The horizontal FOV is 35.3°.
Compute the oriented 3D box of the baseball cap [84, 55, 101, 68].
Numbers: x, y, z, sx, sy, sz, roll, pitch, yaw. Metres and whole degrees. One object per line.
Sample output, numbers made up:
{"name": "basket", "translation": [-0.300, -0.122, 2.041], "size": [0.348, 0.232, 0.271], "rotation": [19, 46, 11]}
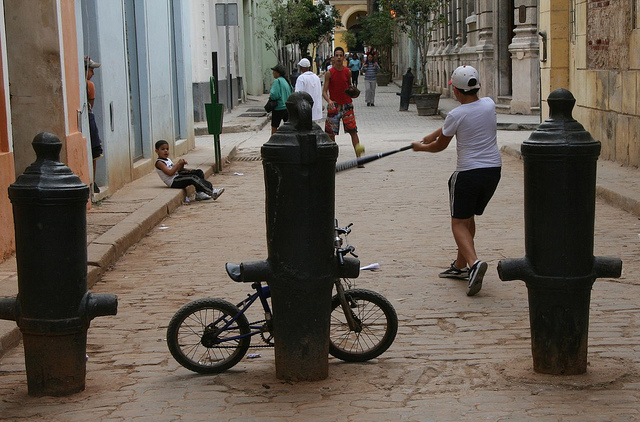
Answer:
{"name": "baseball cap", "translation": [-3.224, -2.106, 14.193], "size": [0.197, 0.177, 0.342], "rotation": [-6, 13, -11]}

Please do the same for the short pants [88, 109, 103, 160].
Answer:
{"name": "short pants", "translation": [-3.168, -1.094, 14.108], "size": [0.111, 0.702, 0.323], "rotation": [-4, 13, -3]}

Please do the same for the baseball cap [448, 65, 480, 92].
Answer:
{"name": "baseball cap", "translation": [1.502, -1.426, 10.461], "size": [0.315, 0.216, 0.389], "rotation": [-15, 26, -5]}

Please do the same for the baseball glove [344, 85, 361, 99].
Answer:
{"name": "baseball glove", "translation": [0.565, -2.155, 18.083], "size": [0.242, 0.097, 0.235], "rotation": [12, -3, -31]}

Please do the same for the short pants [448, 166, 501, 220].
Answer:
{"name": "short pants", "translation": [1.674, -0.192, 10.884], "size": [0.634, 0.568, 0.404], "rotation": [-8, 16, -36]}

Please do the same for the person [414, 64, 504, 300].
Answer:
{"name": "person", "translation": [1.472, -0.367, 10.686], "size": [1.050, 2.351, 1.423], "rotation": [0, 4, 2]}

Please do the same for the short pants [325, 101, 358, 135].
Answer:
{"name": "short pants", "translation": [0.376, -1.689, 18.225], "size": [0.524, 0.645, 0.617], "rotation": [-4, 13, -3]}
